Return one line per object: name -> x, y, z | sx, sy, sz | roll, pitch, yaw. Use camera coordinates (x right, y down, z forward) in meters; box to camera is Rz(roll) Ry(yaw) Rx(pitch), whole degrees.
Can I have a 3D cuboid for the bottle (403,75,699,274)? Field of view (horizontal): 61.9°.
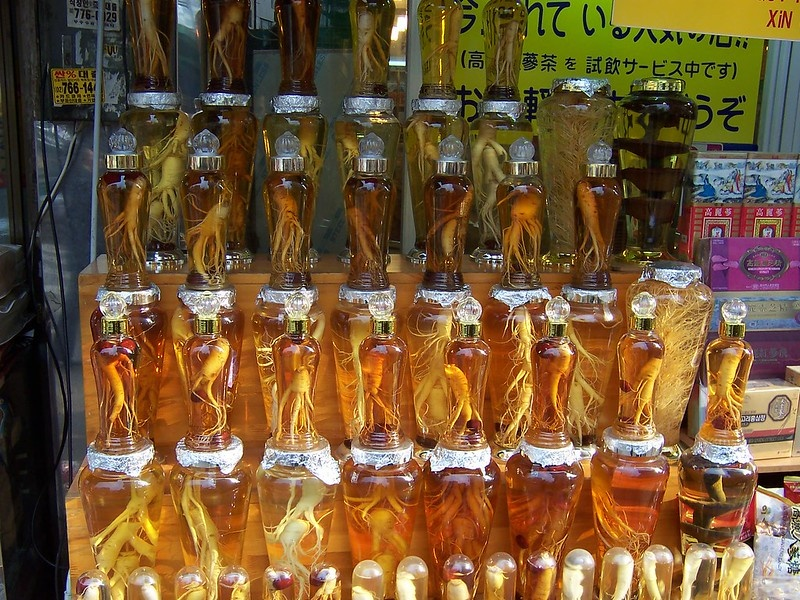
bottle -> 0.326, -0.227, 1.428 | 0.408, 0.479, 0.428 | -3, 3, -41
